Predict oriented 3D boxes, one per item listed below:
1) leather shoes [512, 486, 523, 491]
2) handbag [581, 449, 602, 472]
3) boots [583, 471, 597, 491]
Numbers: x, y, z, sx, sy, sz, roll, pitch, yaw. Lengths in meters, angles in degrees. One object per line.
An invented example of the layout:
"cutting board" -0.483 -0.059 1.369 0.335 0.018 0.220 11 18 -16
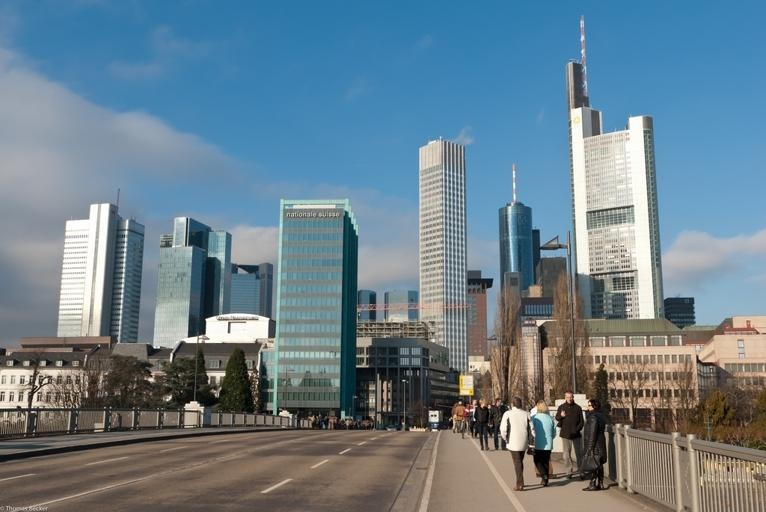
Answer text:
"leather shoes" 5.476 9.489 35.060 0.270 0.174 0.155 -4 -4 7
"handbag" 8.549 8.467 35.498 0.874 1.152 0.421 -5 -10 35
"boots" 8.510 9.322 35.596 0.605 0.712 0.532 -3 -12 6
